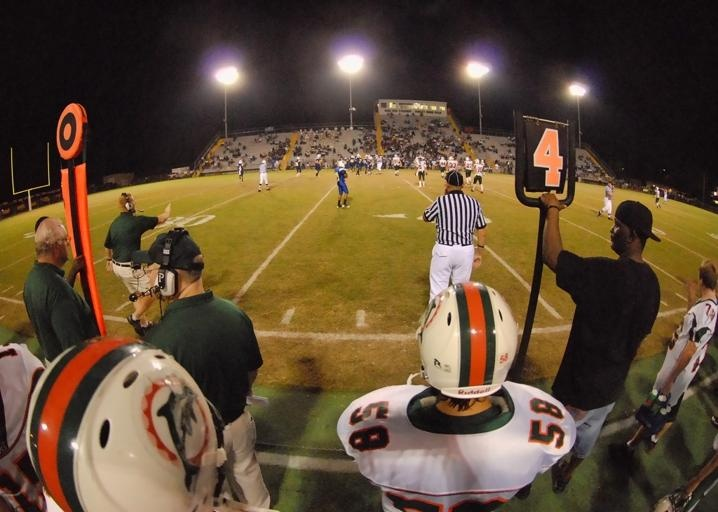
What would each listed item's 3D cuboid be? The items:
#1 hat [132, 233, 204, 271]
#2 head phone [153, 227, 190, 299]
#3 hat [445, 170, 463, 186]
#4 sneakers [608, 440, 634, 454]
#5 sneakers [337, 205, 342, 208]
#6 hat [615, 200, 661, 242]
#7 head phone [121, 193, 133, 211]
[{"bbox_3d":[-1.440,-0.057,3.942,0.410,0.292,0.318,14,4,-2],"label":"hat"},{"bbox_3d":[-1.510,0.004,4.042,0.212,0.504,0.516,8,11,-20],"label":"head phone"},{"bbox_3d":[1.175,-0.953,6.366,0.195,0.208,0.317,3,16,9],"label":"hat"},{"bbox_3d":[2.524,1.822,4.999,0.170,0.128,0.099,-8,6,32],"label":"sneakers"},{"bbox_3d":[-0.630,-1.599,16.450,0.072,0.101,0.223,-1,5,-7],"label":"sneakers"},{"bbox_3d":[2.208,-0.298,4.214,0.266,0.241,0.404,-9,39,-45],"label":"hat"},{"bbox_3d":[-3.137,-0.737,6.990,0.162,0.238,0.253,-6,17,-24],"label":"head phone"}]
